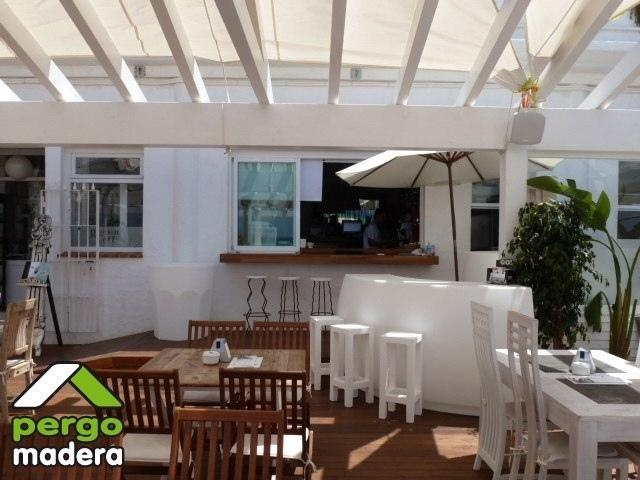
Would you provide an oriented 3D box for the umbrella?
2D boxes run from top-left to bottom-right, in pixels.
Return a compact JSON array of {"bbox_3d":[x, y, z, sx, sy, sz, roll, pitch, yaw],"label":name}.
[{"bbox_3d":[1.489,-0.379,7.515,2.344,1.857,2.569,0,-1,-8],"label":"umbrella"}]

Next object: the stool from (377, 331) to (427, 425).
[{"bbox_3d":[0.803,1.375,5.149,0.415,0.826,0.428,0,-2,16],"label":"stool"}]
